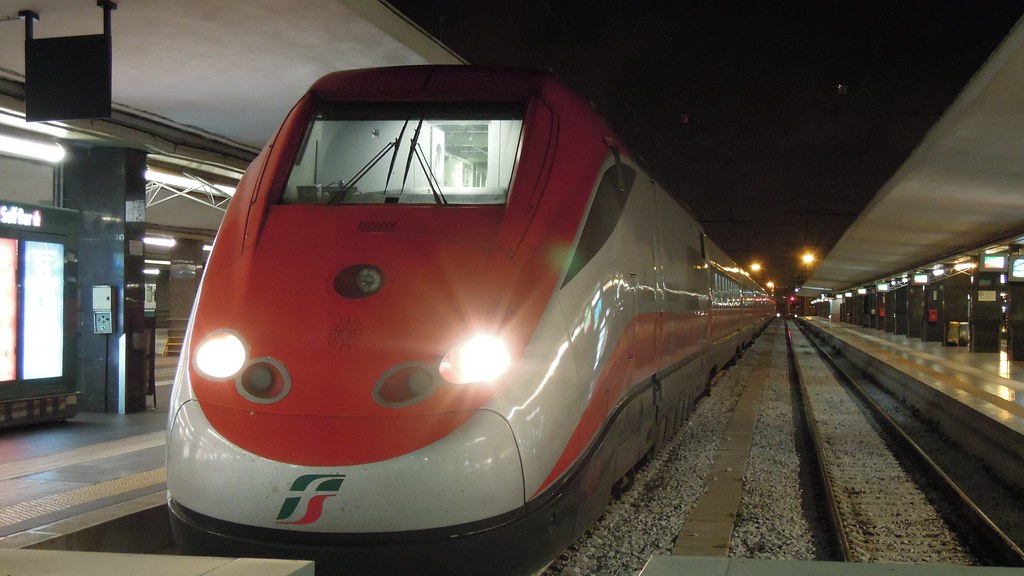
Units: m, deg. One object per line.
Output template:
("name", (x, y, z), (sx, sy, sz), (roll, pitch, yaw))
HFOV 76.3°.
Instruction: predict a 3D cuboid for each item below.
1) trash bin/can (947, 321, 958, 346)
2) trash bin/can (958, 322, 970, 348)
("trash bin/can", (21.400, 2.253, 31.535), (0.461, 0.783, 0.710), (6, 4, 34))
("trash bin/can", (21.826, 2.264, 31.488), (0.410, 0.838, 0.881), (6, 4, 32))
